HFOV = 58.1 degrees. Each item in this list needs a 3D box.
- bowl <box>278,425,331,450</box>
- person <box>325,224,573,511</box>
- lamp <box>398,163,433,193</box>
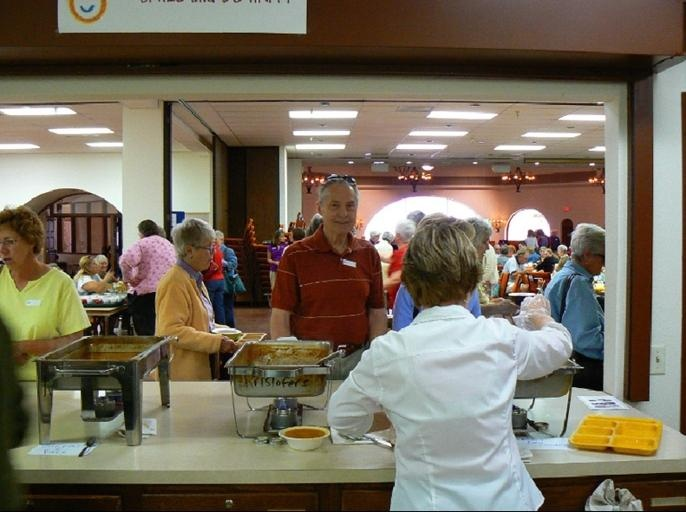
[{"bbox_3d":[-0.167,0.788,2.693,0.215,0.075,0.192,0,9,3],"label":"bowl"},{"bbox_3d":[0.456,0.406,2.307,0.901,1.061,0.563,-4,10,-23],"label":"person"},{"bbox_3d":[2.345,-2.558,19.949,0.999,0.698,1.046,1,6,17],"label":"lamp"}]
